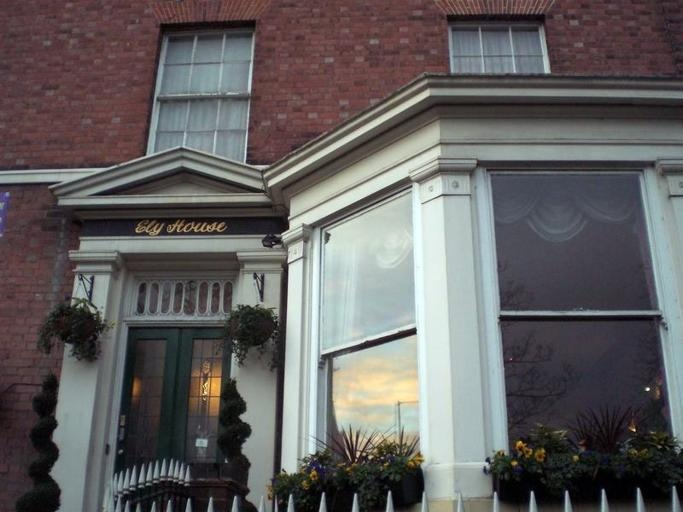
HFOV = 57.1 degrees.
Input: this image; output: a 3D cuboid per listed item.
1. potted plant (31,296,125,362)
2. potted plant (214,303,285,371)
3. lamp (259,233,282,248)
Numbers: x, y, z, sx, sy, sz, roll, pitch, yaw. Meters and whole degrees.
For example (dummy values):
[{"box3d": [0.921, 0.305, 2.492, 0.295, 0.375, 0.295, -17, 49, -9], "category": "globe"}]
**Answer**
[{"box3d": [-3.406, 0.973, 8.507, 0.859, 0.786, 0.599, -5, 0, 42], "category": "potted plant"}, {"box3d": [-1.098, 1.014, 8.267, 0.844, 0.871, 0.777, 13, -24, -35], "category": "potted plant"}, {"box3d": [-0.976, -0.205, 8.506, 0.132, 0.177, 0.432, 1, 0, -19], "category": "lamp"}]
